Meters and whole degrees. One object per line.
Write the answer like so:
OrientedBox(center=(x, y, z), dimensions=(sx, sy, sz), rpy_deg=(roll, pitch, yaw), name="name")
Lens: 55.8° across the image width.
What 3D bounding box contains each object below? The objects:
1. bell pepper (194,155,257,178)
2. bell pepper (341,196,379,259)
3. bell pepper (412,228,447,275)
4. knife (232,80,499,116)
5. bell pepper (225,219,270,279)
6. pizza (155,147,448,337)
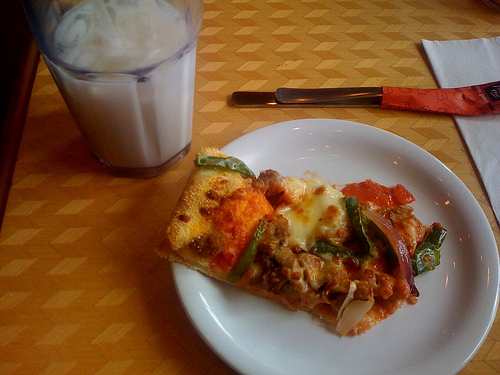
OrientedBox(center=(-0.081, -0.046, 1.107), dimensions=(0.164, 0.129, 0.046), rpy_deg=(3, 81, -11), name="bell pepper")
OrientedBox(center=(0.237, 0.085, 1.083), dimensions=(0.051, 0.038, 0.147), rpy_deg=(-5, 66, -38), name="bell pepper")
OrientedBox(center=(0.418, 0.152, 1.099), dimensions=(0.072, 0.049, 0.104), rpy_deg=(9, 74, -1), name="bell pepper")
OrientedBox(center=(0.356, -0.266, 1.438), dimensions=(1.040, 0.088, 0.103), rpy_deg=(1, 72, 2), name="knife")
OrientedBox(center=(0.002, 0.144, 1.039), dimensions=(0.033, 0.074, 0.137), rpy_deg=(31, 61, 14), name="bell pepper")
OrientedBox(center=(0.137, 0.099, 1.074), dimensions=(0.619, 0.134, 0.364), rpy_deg=(15, 63, 4), name="pizza")
